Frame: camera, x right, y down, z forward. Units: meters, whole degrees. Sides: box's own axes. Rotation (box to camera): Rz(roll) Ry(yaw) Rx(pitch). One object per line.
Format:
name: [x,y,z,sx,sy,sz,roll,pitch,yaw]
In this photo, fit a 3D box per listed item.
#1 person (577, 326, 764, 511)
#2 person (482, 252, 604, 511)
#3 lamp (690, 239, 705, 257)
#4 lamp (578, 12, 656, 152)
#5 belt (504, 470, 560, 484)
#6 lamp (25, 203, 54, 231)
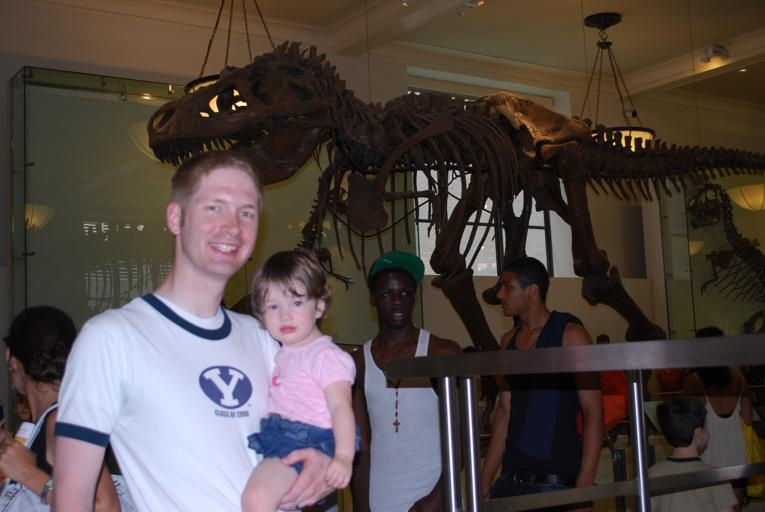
person: [2.462,1.194,5.074,0.595,1.214,2.004,-3,-5,29]
person: [0.931,0.739,3.978,0.659,1.524,0.823,1,-5,-19]
lamp: [4.998,-0.122,10.625,0.248,0.233,0.062,5,13,31]
lamp: [2.963,-2.101,8.564,1.171,1.776,1.236,-8,15,14]
belt: [0.848,1.268,3.824,0.341,0.058,0.060,-4,-6,33]
lamp: [-3.278,-0.370,6.340,0.197,0.178,0.224,0,-6,-4]
